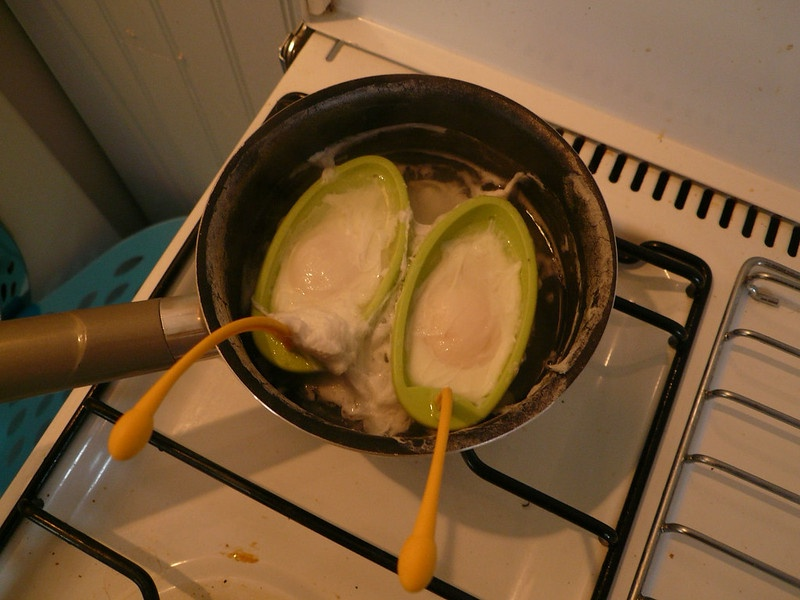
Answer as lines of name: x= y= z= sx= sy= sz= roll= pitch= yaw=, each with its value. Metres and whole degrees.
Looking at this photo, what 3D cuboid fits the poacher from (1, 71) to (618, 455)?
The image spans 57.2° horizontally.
poacher: x=-0.098 y=-0.061 z=0.834 sx=0.566 sy=0.382 sz=0.099 roll=-12 pitch=-9 yaw=-5
